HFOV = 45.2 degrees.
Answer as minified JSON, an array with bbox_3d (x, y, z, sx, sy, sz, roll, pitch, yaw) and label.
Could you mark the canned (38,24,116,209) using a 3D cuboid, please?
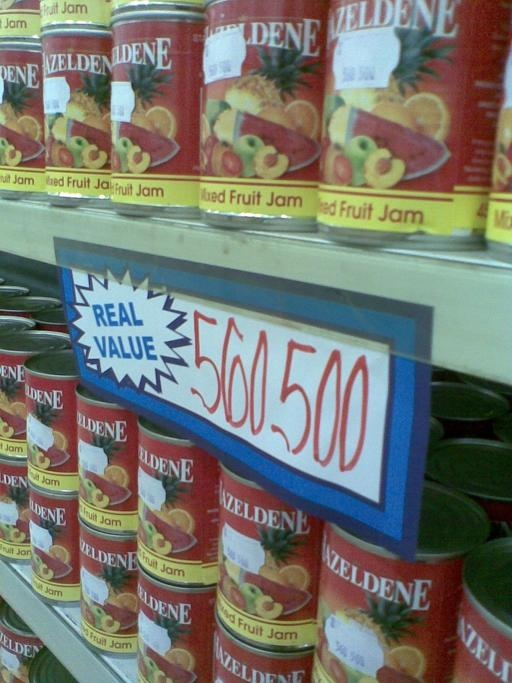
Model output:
[{"bbox_3d":[-0.228,-0.284,0.778,0.101,0.225,0.066,-3,13,26],"label":"canned"}]
